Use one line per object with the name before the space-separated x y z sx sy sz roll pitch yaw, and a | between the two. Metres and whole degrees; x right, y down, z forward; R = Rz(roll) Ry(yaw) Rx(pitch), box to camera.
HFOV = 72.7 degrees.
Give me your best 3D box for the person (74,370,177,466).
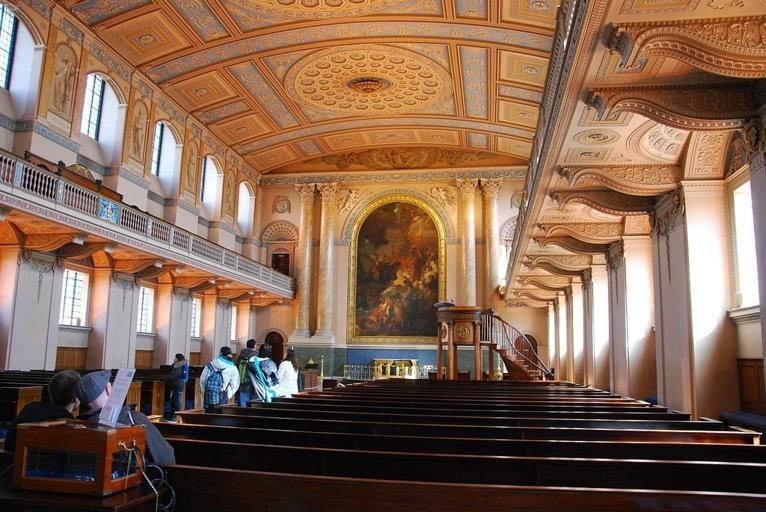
person | -2.346 1.415 4.654 1.102 0.789 0.620 -11 -18 38
